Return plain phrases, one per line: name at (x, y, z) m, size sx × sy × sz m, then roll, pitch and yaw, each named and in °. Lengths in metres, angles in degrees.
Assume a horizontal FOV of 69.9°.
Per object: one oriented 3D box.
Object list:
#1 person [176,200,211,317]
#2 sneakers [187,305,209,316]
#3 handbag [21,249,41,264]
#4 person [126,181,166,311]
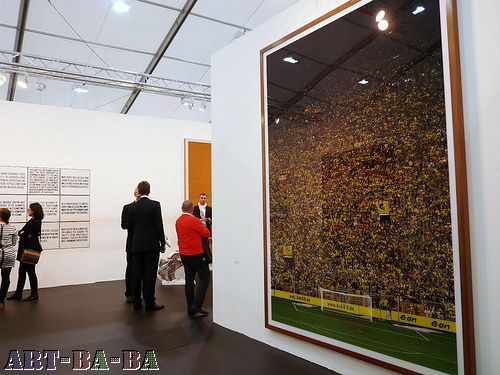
person at (-0.855, 1.028, 5.376) m, size 0.482 × 1.665 × 0.525 m, roll -1°, pitch -2°, yaw -9°
sneakers at (-0.767, 1.794, 5.250) m, size 0.349 × 0.163 × 0.124 m, roll 3°, pitch -7°, yaw -4°
handbag at (-3.703, 1.147, 6.003) m, size 0.116 × 0.200 × 0.205 m, roll 14°, pitch -4°, yaw 42°
person at (-1.649, 0.895, 5.611) m, size 0.605 × 1.980 × 0.375 m, roll -1°, pitch -2°, yaw 5°
